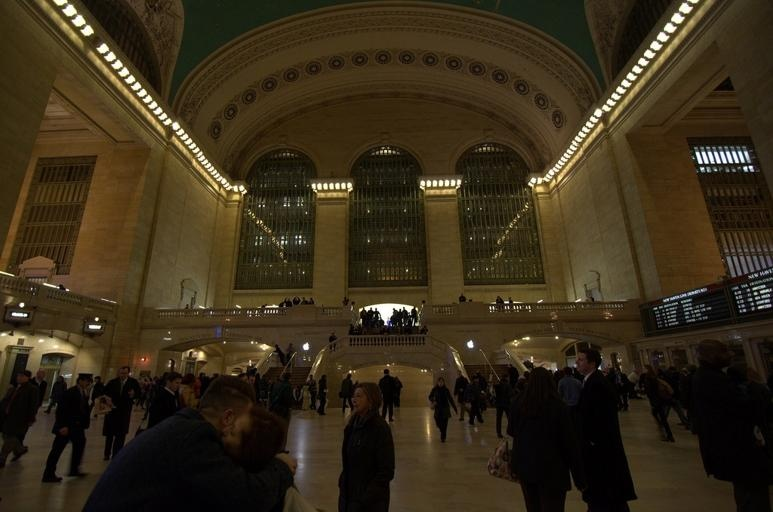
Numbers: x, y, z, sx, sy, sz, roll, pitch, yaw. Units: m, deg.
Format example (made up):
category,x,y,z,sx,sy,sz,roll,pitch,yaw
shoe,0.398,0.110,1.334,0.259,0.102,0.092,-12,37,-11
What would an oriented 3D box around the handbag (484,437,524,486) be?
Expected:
category,x,y,z,sx,sy,sz,roll,pitch,yaw
handbag,1.870,3.228,7.308,0.437,0.605,0.342,-10,-20,27
